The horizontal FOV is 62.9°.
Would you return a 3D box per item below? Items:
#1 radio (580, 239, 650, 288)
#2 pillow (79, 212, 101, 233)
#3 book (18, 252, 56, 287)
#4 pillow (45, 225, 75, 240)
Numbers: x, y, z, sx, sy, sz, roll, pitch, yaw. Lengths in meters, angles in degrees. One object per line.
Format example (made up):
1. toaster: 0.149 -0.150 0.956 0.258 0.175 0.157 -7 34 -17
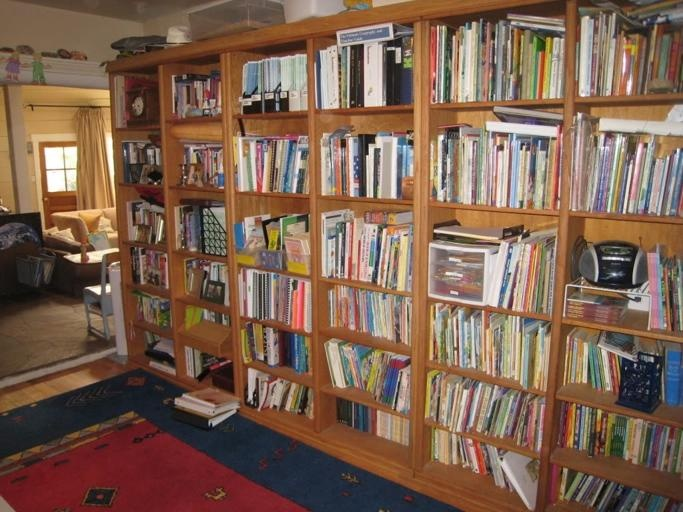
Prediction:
1. radio: 1.463 0.048 2.975 0.352 0.211 0.347 -6 11 -41
2. pillow: -3.841 -0.490 8.518 0.366 0.335 0.165 -15 5 -29
3. book: -3.279 0.139 5.972 0.348 0.267 0.285 13 15 32
4. pillow: -3.974 -0.307 7.938 0.351 0.082 0.298 13 5 -7
